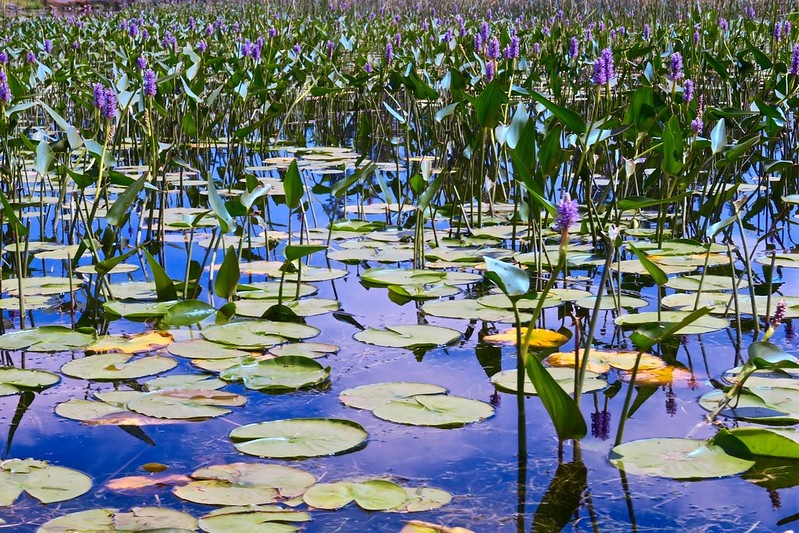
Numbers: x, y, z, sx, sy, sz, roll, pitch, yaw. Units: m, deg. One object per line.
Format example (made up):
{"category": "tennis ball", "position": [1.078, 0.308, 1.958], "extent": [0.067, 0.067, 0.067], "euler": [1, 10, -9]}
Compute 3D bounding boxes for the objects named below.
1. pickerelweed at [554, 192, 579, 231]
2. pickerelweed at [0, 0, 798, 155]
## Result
{"category": "pickerelweed", "position": [0.570, -0.184, 2.791], "extent": [0.069, 0.148, 0.257], "euler": [2, 10, 11]}
{"category": "pickerelweed", "position": [0.019, -1.708, 7.426], "extent": [4.608, 0.985, 4.115], "euler": [0, 7, 22]}
